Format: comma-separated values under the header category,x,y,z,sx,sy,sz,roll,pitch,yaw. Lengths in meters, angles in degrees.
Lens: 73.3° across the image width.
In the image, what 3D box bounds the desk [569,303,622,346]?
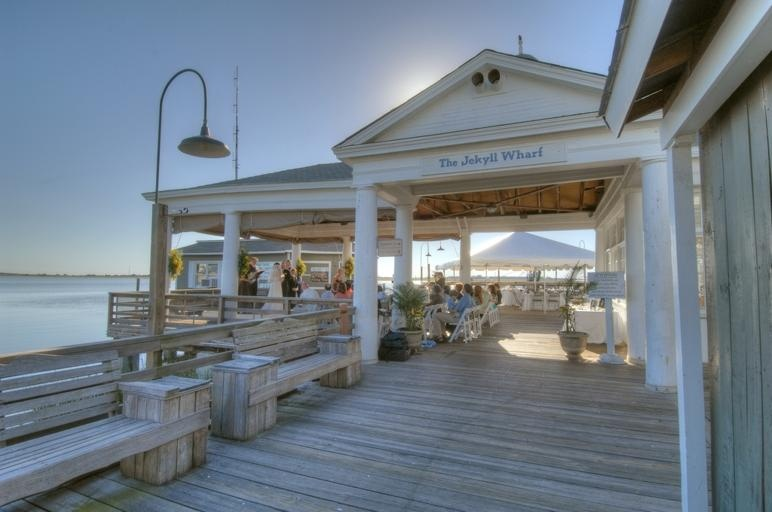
category,x,y,z,sx,sy,sz,roll,pitch,yaw
desk,5.174,1.683,12.530,0.934,0.625,0.995,-1,1,25

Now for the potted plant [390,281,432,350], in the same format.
category,x,y,z,sx,sy,sz,roll,pitch,yaw
potted plant,0.596,1.358,11.936,0.770,1.404,0.831,-5,-4,11

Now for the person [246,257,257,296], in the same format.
category,x,y,z,sx,sy,sz,roll,pitch,yaw
person,-3.958,0.601,15.249,0.312,1.175,1.926,-1,-4,-15

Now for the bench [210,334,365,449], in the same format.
category,x,y,z,sx,sy,sz,roll,pitch,yaw
bench,-1.521,2.075,8.623,0.804,1.278,2.839,-5,-5,33
